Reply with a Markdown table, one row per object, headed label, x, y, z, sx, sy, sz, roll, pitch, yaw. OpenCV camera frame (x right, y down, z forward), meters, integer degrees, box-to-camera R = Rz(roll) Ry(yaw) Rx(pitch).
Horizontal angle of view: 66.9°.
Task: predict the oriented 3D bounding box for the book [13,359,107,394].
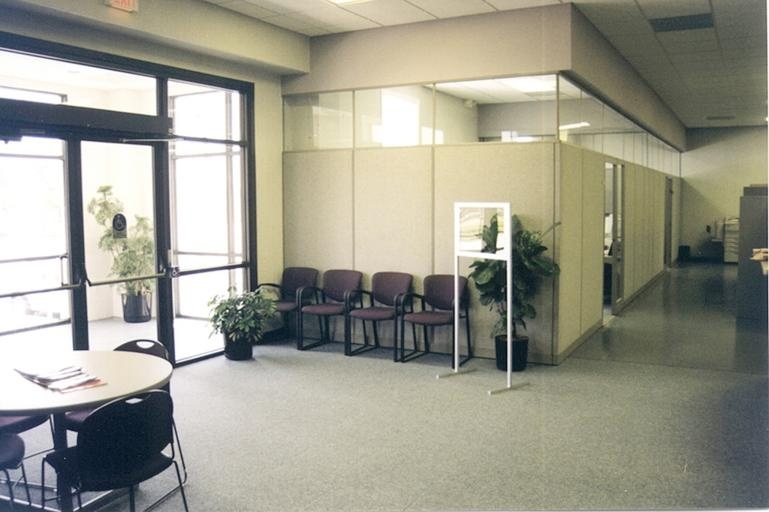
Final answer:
| label | x | y | z | sx | sy | sz | roll | pitch | yaw |
| --- | --- | --- | --- | --- | --- | --- | --- | --- | --- |
| book | -2.701 | 1.019 | 4.865 | 0.556 | 0.073 | 0.319 | 0 | 10 | -44 |

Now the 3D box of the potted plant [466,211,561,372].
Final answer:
| label | x | y | z | sx | sy | sz | roll | pitch | yaw |
| --- | --- | --- | --- | --- | --- | --- | --- | --- | --- |
| potted plant | 1.743 | 0.528 | 7.729 | 1.279 | 1.952 | 1.326 | -5 | -9 | 37 |

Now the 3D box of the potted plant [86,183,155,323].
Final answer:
| label | x | y | z | sx | sy | sz | roll | pitch | yaw |
| --- | --- | --- | --- | --- | --- | --- | --- | --- | --- |
| potted plant | -3.213 | -0.002 | 7.275 | 0.261 | 1.778 | 0.760 | 7 | 16 | 27 |

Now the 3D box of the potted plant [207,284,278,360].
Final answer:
| label | x | y | z | sx | sy | sz | roll | pitch | yaw |
| --- | --- | --- | --- | --- | --- | --- | --- | --- | --- |
| potted plant | -1.975 | 0.880 | 8.374 | 1.081 | 1.002 | 0.894 | 0 | 5 | 3 |

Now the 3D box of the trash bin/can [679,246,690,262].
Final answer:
| label | x | y | z | sx | sy | sz | roll | pitch | yaw |
| --- | --- | --- | --- | --- | --- | --- | --- | --- | --- |
| trash bin/can | 8.822 | -0.089 | 17.080 | 0.302 | 0.476 | 0.144 | 3 | 14 | 14 |
